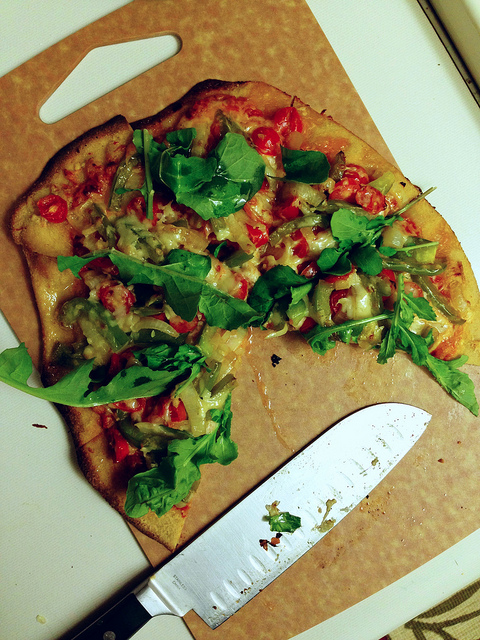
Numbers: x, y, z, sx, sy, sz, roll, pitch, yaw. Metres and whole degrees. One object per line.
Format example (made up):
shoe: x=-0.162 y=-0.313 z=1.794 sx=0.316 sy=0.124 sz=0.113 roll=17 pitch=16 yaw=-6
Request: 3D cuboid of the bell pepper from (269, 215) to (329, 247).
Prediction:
bell pepper: x=0.201 y=-0.313 z=2.203 sx=0.219 sy=0.043 sz=0.059 roll=-18 pitch=85 yaw=-2

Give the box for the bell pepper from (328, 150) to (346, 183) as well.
bell pepper: x=0.350 y=-0.542 z=2.297 sx=0.079 sy=0.033 sz=0.098 roll=-2 pitch=96 yaw=3

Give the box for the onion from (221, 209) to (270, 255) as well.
onion: x=0.020 y=-0.300 z=2.182 sx=0.151 sy=0.064 sz=0.115 roll=42 pitch=86 yaw=3

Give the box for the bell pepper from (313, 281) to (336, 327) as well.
bell pepper: x=0.286 y=-0.053 z=2.189 sx=0.039 sy=0.109 sz=0.114 roll=4 pitch=108 yaw=36

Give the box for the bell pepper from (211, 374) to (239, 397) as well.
bell pepper: x=-0.058 y=0.230 z=2.242 sx=0.096 sy=0.027 sz=0.049 roll=-34 pitch=91 yaw=-14

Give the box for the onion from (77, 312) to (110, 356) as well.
onion: x=-0.501 y=0.049 z=2.253 sx=0.049 sy=0.088 sz=0.149 roll=-41 pitch=99 yaw=-15

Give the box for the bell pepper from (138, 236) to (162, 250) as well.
bell pepper: x=-0.287 y=-0.254 z=2.094 sx=0.084 sy=0.017 sz=0.032 roll=20 pitch=85 yaw=1

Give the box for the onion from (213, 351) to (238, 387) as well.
onion: x=-0.040 y=0.169 z=2.274 sx=0.046 sy=0.041 sz=0.141 roll=40 pitch=68 yaw=-14

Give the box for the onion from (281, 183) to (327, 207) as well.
onion: x=0.218 y=-0.433 z=2.223 sx=0.150 sy=0.065 sz=0.059 roll=20 pitch=85 yaw=1

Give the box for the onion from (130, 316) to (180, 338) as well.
onion: x=-0.291 y=0.017 z=2.183 sx=0.217 sy=0.034 sz=0.058 roll=5 pitch=102 yaw=12

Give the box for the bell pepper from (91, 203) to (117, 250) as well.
bell pepper: x=-0.461 y=-0.317 z=2.178 sx=0.064 sy=0.211 sz=0.055 roll=0 pitch=129 yaw=-33

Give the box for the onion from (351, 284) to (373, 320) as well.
onion: x=0.422 y=-0.059 z=2.209 sx=0.087 sy=0.029 sz=0.109 roll=-5 pitch=99 yaw=-8
